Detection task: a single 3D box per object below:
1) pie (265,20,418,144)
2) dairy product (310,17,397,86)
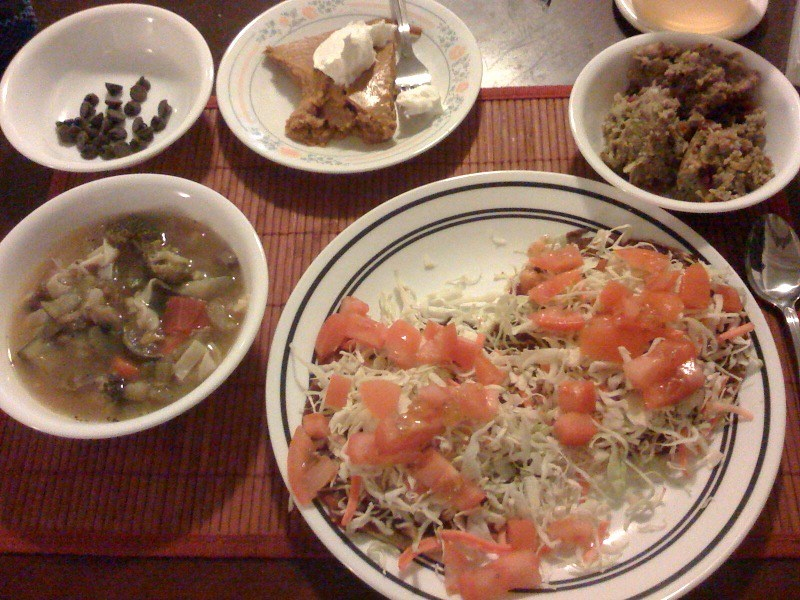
[{"bbox_3d":[-0.227,-0.871,2.981,0.559,0.135,0.561,-23,70,-11],"label":"pie"},{"bbox_3d":[-0.188,-1.071,3.008,0.355,0.143,0.243,-29,70,-4],"label":"dairy product"}]
